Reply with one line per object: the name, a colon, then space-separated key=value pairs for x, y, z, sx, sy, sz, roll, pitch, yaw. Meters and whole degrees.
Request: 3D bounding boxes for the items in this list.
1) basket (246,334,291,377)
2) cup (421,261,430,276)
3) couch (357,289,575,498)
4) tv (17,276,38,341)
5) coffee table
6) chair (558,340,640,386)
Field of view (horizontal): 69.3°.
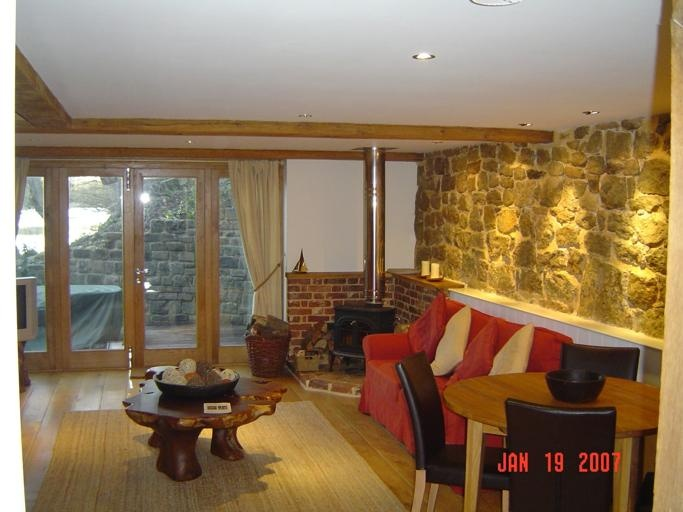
basket: x=-0.914 y=1.179 z=6.037 sx=0.612 sy=0.467 sz=0.504 roll=0 pitch=2 yaw=-11
cup: x=1.019 y=0.146 z=6.031 sx=0.098 sy=0.178 sz=0.305 roll=1 pitch=4 yaw=9
couch: x=0.781 y=1.010 z=4.058 sx=0.928 sy=0.790 sz=1.552 roll=0 pitch=7 yaw=-22
tv: x=-3.188 y=0.568 z=5.024 sx=0.174 sy=0.683 sz=0.358 roll=-3 pitch=5 yaw=-31
coffee table: x=-1.077 y=1.164 z=3.464 sx=0.891 sy=0.289 sz=0.882 roll=3 pitch=4 yaw=37
chair: x=1.521 y=0.612 z=2.915 sx=0.301 sy=0.357 sz=0.334 roll=-2 pitch=-16 yaw=37
